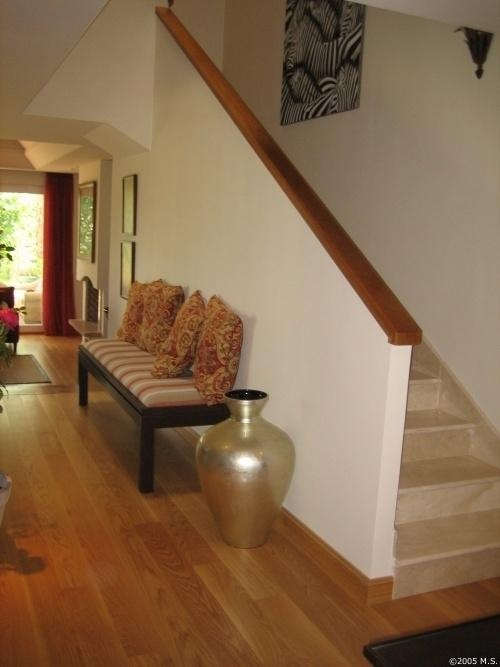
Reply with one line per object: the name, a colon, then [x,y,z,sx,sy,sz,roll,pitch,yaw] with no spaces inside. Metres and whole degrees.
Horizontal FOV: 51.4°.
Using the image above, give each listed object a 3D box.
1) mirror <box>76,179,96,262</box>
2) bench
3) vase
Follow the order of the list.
mirror: [-2.343,-1.602,7.423,0.064,1.535,1.437,4,-2,-23]
bench: [-0.767,0.460,3.852,0.661,0.576,1.727,-4,13,-30]
vase: [-0.021,0.603,2.418,0.431,0.663,0.441,-3,9,-16]
